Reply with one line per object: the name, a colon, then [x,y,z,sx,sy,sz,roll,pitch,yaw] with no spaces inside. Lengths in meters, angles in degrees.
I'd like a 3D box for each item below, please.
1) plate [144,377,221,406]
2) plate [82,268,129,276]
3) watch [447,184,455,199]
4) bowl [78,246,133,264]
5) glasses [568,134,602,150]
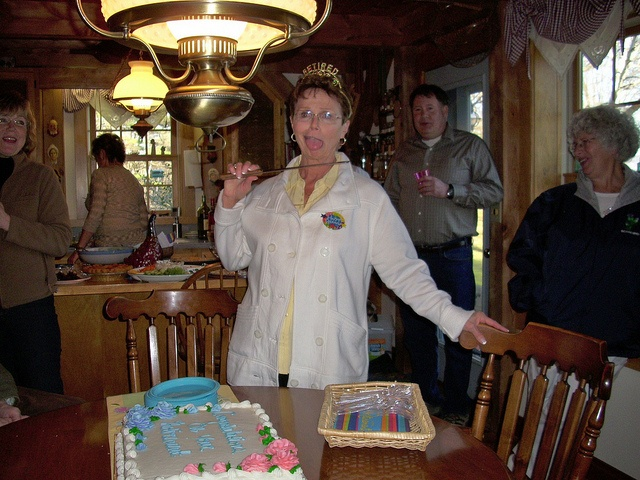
plate: [-0.428,0.478,1.625,0.131,0.054,0.129,9,-8,-36]
plate: [-1.403,0.209,3.330,0.323,0.060,0.107,-1,13,13]
watch: [0.844,-0.305,3.337,0.066,0.072,0.023,3,-5,-5]
bowl: [-1.463,0.102,3.555,0.282,0.111,0.314,6,16,37]
glasses: [1.368,-0.503,2.696,0.088,0.113,0.222,-5,13,-9]
